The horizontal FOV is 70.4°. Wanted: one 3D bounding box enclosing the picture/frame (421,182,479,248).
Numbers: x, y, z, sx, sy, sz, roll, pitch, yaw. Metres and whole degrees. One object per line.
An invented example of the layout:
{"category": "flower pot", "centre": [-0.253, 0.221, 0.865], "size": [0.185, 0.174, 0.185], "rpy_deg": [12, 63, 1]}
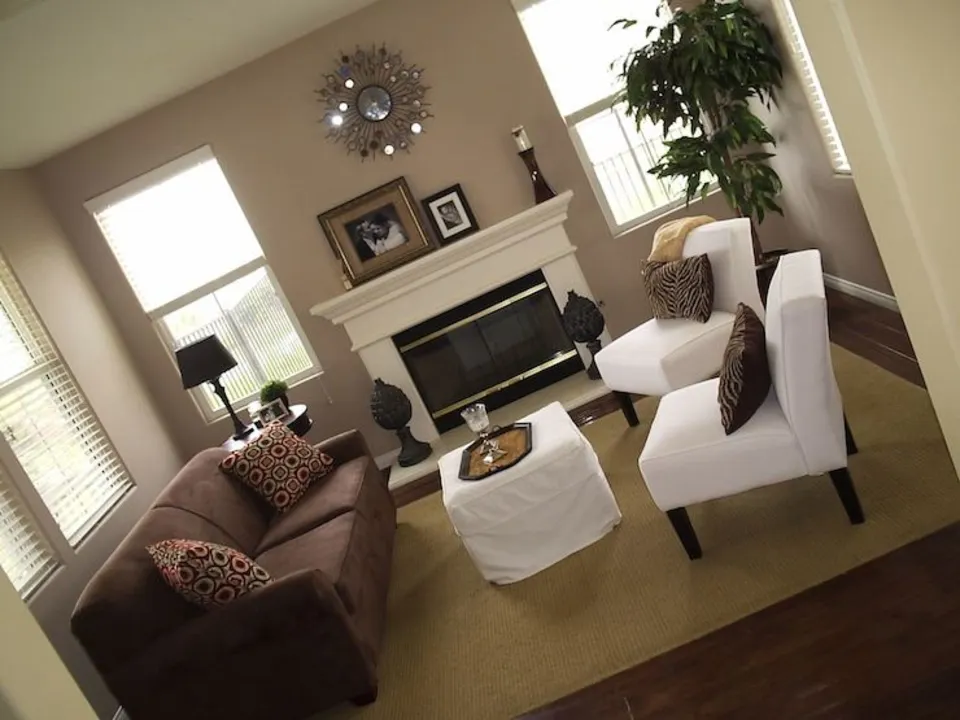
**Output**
{"category": "picture/frame", "centre": [-0.249, -1.135, 5.261], "size": [0.353, 0.467, 0.031], "rpy_deg": [-21, 13, -1]}

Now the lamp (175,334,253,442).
{"category": "lamp", "centre": [-1.839, 0.200, 4.787], "size": [0.373, 0.742, 0.352], "rpy_deg": [-24, 15, -10]}

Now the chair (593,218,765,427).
{"category": "chair", "centre": [1.147, -0.265, 4.318], "size": [0.966, 1.388, 0.920], "rpy_deg": [-21, 17, -19]}

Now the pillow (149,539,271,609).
{"category": "pillow", "centre": [-1.186, 0.906, 2.960], "size": [0.190, 0.339, 0.338], "rpy_deg": [-69, 18, -1]}

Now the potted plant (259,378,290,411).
{"category": "potted plant", "centre": [-1.501, 0.230, 4.979], "size": [0.199, 0.237, 0.172], "rpy_deg": [-3, 10, -18]}

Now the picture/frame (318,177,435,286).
{"category": "picture/frame", "centre": [-0.778, -1.018, 5.234], "size": [0.604, 0.576, 0.051], "rpy_deg": [-24, 7, 3]}
